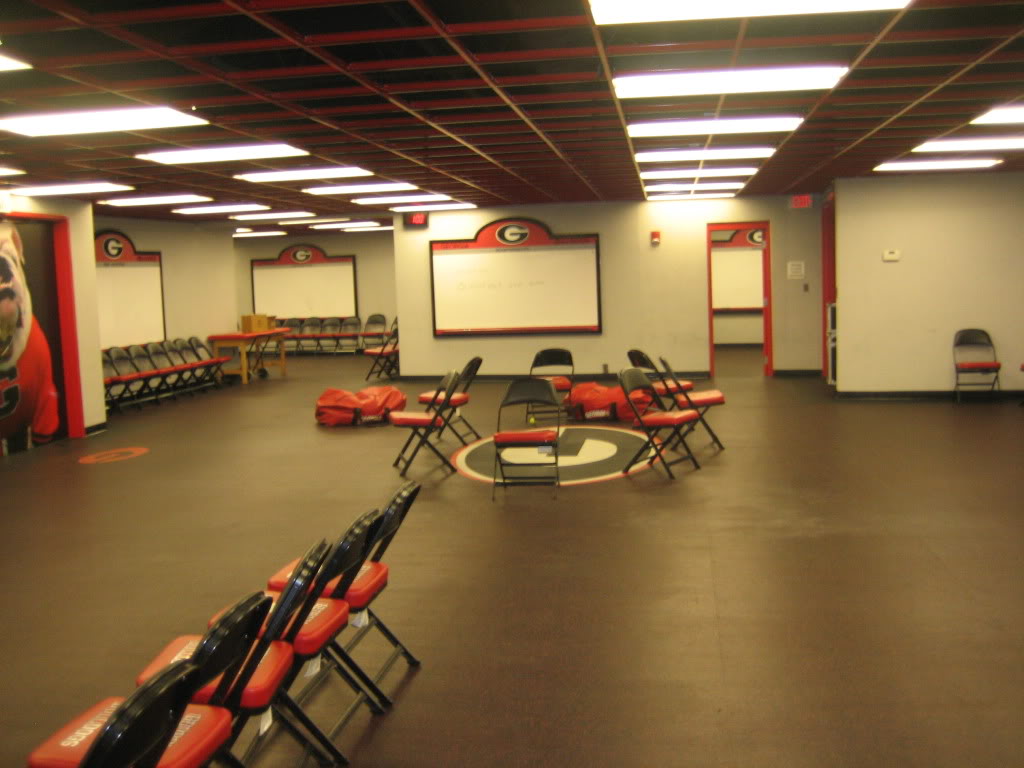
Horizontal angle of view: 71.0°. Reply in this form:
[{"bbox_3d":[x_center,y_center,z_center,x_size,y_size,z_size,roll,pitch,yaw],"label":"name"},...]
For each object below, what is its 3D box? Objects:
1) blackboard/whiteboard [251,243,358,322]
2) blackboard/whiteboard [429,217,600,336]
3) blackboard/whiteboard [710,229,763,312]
[{"bbox_3d":[-5.581,-2.829,19.667,3.177,1.958,0.113,0,4,4],"label":"blackboard/whiteboard"},{"bbox_3d":[0.185,-2.045,13.437,2.686,1.552,0.082,0,4,6],"label":"blackboard/whiteboard"},{"bbox_3d":[5.525,-2.743,17.630,1.165,2.016,0.615,0,8,9],"label":"blackboard/whiteboard"}]
